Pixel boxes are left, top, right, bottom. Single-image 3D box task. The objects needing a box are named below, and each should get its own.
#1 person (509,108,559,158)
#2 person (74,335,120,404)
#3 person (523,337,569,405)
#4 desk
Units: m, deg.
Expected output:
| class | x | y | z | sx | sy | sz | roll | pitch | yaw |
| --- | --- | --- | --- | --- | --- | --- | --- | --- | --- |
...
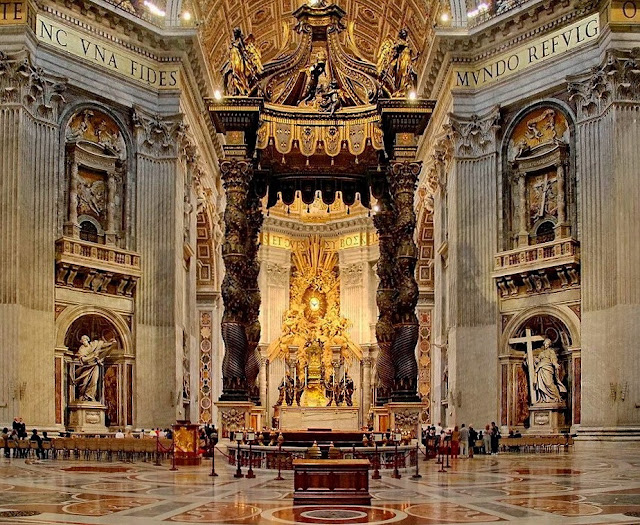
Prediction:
| class | x | y | z | sx | sy | sz | roll | pitch | yaw |
| --- | --- | --- | --- | --- | --- | --- | --- | --- | --- |
| person | 6.475 | -4.000 | 41.076 | 1.130 | 1.406 | 0.300 | -7 | -4 | 23 |
| person | -6.478 | 2.999 | 39.406 | 1.137 | 1.923 | 0.656 | 1 | -3 | -3 |
| person | 6.593 | 3.105 | 39.459 | 0.503 | 1.968 | 0.832 | 3 | -8 | -22 |
| desk | 0.250 | 4.097 | 25.517 | 1.376 | 0.787 | 0.743 | 0 | -5 | 0 |
